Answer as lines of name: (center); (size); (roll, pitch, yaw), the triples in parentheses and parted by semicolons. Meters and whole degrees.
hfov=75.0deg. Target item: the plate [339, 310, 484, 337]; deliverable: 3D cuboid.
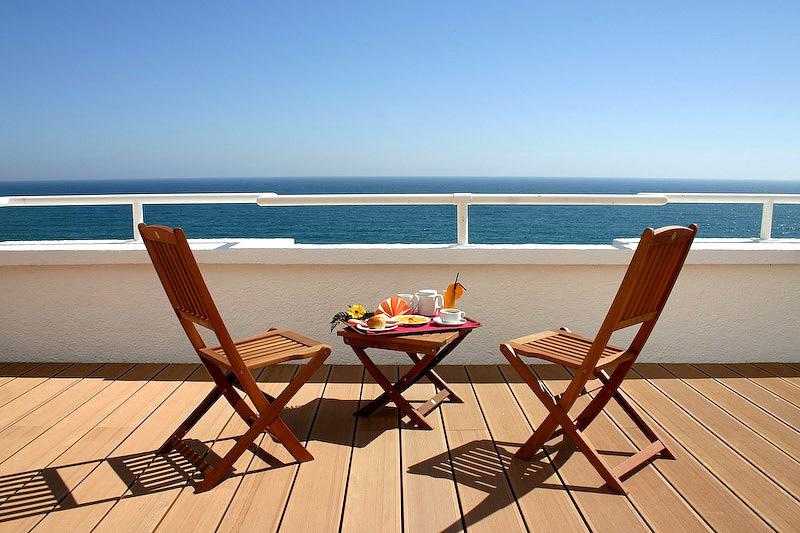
plate: (0.065, 0.354, 3.106); (0.787, 0.086, 0.253); (-2, 13, -5)

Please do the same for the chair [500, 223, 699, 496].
chair: (1.025, 0.430, 2.767); (0.898, 1.322, 0.655); (6, 19, 25)

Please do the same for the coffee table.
coffee table: (0.083, 0.692, 3.371); (0.740, 0.409, 0.673); (3, -1, 21)

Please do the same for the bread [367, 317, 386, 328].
bread: (-0.139, 0.326, 3.042); (0.090, 0.020, 0.075); (-10, 21, -31)

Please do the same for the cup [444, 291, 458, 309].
cup: (0.313, 0.198, 3.223); (0.073, 0.121, 0.082); (-1, 16, 1)

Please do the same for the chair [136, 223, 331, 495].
chair: (-0.933, 0.419, 2.844); (0.907, 1.323, 0.744); (-9, 18, -24)
